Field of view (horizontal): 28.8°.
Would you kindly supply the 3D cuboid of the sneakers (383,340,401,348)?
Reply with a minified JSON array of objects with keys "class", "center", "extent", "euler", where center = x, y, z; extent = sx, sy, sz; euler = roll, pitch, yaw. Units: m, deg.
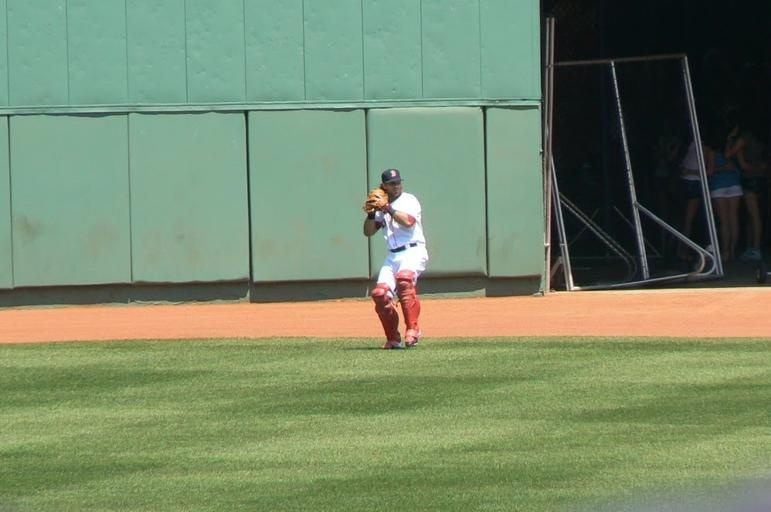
[{"class":"sneakers","center":[0.077,1.217,20.583],"extent":[0.183,0.069,0.103],"euler":[4,-7,-18]}]

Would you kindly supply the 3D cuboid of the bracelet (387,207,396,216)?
[{"class":"bracelet","center":[0.067,-0.613,20.595],"extent":[0.141,0.078,0.066],"euler":[44,28,18]}]

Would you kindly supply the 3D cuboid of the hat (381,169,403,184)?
[{"class":"hat","center":[0.050,-1.094,20.823],"extent":[0.191,0.145,0.250],"euler":[-4,0,-9]}]

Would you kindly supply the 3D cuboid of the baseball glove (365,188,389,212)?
[{"class":"baseball glove","center":[-0.125,-0.785,20.603],"extent":[0.271,0.310,0.137],"euler":[4,-29,34]}]

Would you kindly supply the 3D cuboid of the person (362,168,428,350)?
[{"class":"person","center":[0.131,0.062,20.706],"extent":[0.842,2.361,0.909],"euler":[-1,14,-1]}]

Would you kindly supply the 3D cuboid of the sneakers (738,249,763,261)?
[{"class":"sneakers","center":[6.833,-0.007,28.316],"extent":[0.467,0.188,0.169],"euler":[1,3,2]}]

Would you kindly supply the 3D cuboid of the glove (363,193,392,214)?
[{"class":"glove","center":[-0.127,-0.729,20.574],"extent":[0.262,0.136,0.306],"euler":[-25,38,14]}]
